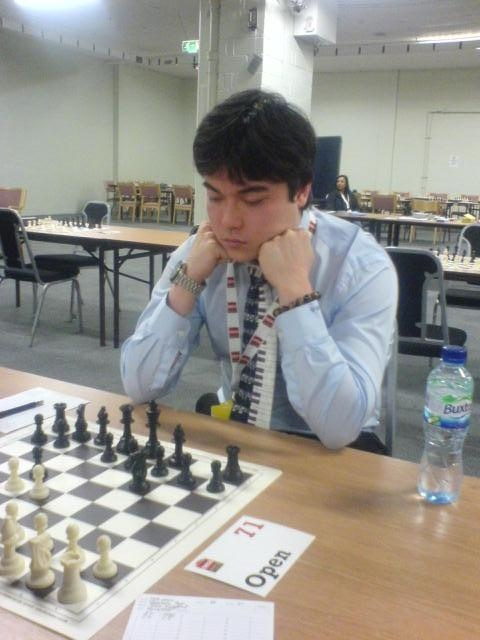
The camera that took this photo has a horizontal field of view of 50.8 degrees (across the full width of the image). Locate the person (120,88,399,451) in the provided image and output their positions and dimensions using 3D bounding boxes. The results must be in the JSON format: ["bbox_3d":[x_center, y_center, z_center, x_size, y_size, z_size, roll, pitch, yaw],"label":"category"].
[{"bbox_3d":[0.053,-0.054,1.192,0.586,0.844,0.443,4,3,32],"label":"person"}]

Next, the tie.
[{"bbox_3d":[0.021,0.109,1.131,0.082,0.009,0.411,13,48,-8],"label":"tie"}]

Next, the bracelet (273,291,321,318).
[{"bbox_3d":[0.119,-0.028,0.984,0.064,0.018,0.052,-41,-2,-5],"label":"bracelet"}]

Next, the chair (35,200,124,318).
[{"bbox_3d":[-1.569,-0.646,4.865,0.557,1.008,0.651,12,16,31],"label":"chair"}]

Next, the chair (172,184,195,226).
[{"bbox_3d":[-1.363,-2.771,12.066,0.507,0.877,0.635,5,10,6],"label":"chair"}]

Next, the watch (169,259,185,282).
[{"bbox_3d":[-0.140,-0.112,1.153,0.013,0.046,0.044,18,21,-5],"label":"watch"}]
